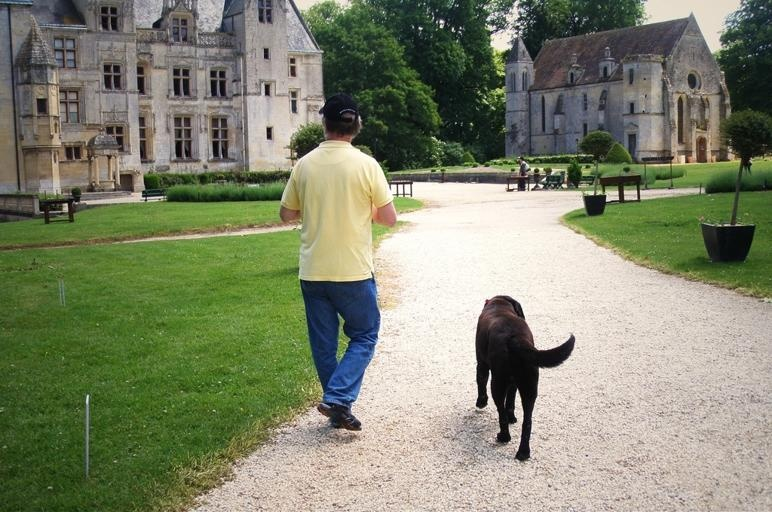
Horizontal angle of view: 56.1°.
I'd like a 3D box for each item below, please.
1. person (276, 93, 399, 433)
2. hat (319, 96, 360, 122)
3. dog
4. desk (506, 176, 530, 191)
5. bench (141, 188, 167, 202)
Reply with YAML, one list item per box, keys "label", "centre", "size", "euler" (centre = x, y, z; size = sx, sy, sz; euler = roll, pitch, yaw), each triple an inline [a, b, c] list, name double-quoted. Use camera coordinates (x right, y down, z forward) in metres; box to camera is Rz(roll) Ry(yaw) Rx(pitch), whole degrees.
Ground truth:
- label: "person"
  centre: [-0.523, 0.087, 8.503]
  size: [1.198, 3.953, 0.882]
  euler: [-4, 7, -9]
- label: "hat"
  centre: [-0.552, -1.719, 8.429]
  size: [0.434, 0.325, 0.306]
  euler: [-3, 7, 0]
- label: "dog"
  centre: [1.512, 1.371, 8.330]
  size: [0.730, 1.666, 1.278]
  euler: [-4, 7, -14]
- label: "desk"
  centre: [7.958, -4.316, 43.482]
  size: [1.474, 0.980, 0.992]
  euler: [-1, 3, -4]
- label: "bench"
  centre: [-12.871, -3.372, 40.371]
  size: [1.213, 0.522, 2.677]
  euler: [-5, 7, -19]
